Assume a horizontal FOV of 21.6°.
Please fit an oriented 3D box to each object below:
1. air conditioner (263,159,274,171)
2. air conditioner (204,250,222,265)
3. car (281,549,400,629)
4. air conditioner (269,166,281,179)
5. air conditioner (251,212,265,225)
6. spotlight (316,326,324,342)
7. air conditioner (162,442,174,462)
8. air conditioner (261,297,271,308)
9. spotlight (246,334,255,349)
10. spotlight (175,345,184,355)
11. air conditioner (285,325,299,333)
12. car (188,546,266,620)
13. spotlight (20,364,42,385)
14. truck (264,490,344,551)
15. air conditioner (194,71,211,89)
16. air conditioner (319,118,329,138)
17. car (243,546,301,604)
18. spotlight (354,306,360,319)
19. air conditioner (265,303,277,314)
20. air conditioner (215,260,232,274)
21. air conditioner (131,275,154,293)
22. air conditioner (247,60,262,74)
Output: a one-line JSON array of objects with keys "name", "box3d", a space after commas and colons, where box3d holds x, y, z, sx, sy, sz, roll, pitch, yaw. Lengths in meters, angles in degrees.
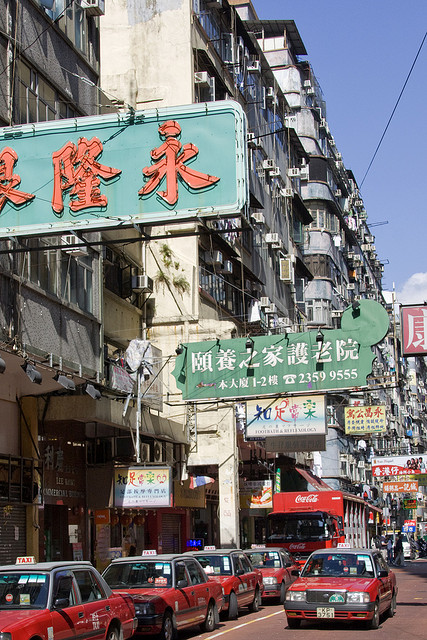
[{"name": "air conditioner", "box3d": [2.209, -6.236, 45.462, 0.276, 0.433, 0.556, 2, -7, 11]}, {"name": "air conditioner", "box3d": [-0.020, -2.097, 37.373, 0.567, 0.435, 1.219, -2, -12, -1]}, {"name": "car", "box3d": [2.102, 4.556, 18.991, 1.664, 1.285, 2.230, -5, -11, 10]}, {"name": "air conditioner", "box3d": [2.513, -6.176, 46.457, 0.397, 0.601, 0.834, 0, -3, 11]}, {"name": "air conditioner", "box3d": [1.676, -3.877, 42.120, 0.412, 0.465, 0.642, -2, 0, 5]}, {"name": "spotlight", "box3d": [2.748, 0.392, 29.220, 0.274, 0.522, 0.231, -1, -2, 5]}, {"name": "air conditioner", "box3d": [-1.323, 3.756, 31.935, 0.295, 0.642, 0.562, 1, 5, 5]}, {"name": "air conditioner", "box3d": [1.965, -0.724, 42.518, 0.307, 0.409, 0.788, -5, -12, 16]}, {"name": "spotlight", "box3d": [0.990, 0.612, 30.185, 0.247, 0.491, 0.198, -2, -47, 4]}, {"name": "spotlight", "box3d": [-0.948, 0.835, 30.877, 0.207, 0.229, 0.169, 4, 28, 1]}, {"name": "air conditioner", "box3d": [3.619, 0.403, 51.213, 0.505, 0.212, 0.527, -9, -10, 37]}, {"name": "car", "box3d": [0.253, 5.018, 21.449, 0.918, 0.874, 1.951, -3, -14, 11]}, {"name": "spotlight", "box3d": [-3.157, 0.922, 19.629, 0.282, 0.378, 0.652, -2, -11, -1]}, {"name": "truck", "box3d": [2.570, 5.776, 32.181, 2.213, 1.720, 2.120, -5, -11, 12]}, {"name": "air conditioner", "box3d": [-0.418, -8.080, 37.343, 0.362, 0.200, 0.773, -5, -10, 7]}, {"name": "air conditioner", "box3d": [7.862, -13.945, 80.101, 0.945, 1.108, 3.130, 1, 8, 5]}, {"name": "car", "box3d": [1.184, 5.398, 23.474, 1.167, 1.102, 3.010, -2, -11, 8]}, {"name": "spotlight", "box3d": [3.738, -0.205, 29.307, 0.144, 0.248, 0.057, -5, -11, 15]}, {"name": "air conditioner", "box3d": [2.191, -0.428, 43.285, 0.294, 0.435, 0.624, 0, -5, 10]}, {"name": "air conditioner", "box3d": [0.308, -1.869, 38.441, 0.432, 0.388, 0.478, -1, -8, 12]}, {"name": "air conditioner", "box3d": [-2.200, -0.967, 33.757, 0.403, 0.408, 0.776, 1, -8, 10]}, {"name": "air conditioner", "box3d": [1.634, -10.301, 45.578, 0.693, 0.573, 0.731, 0, 24, 13]}]
